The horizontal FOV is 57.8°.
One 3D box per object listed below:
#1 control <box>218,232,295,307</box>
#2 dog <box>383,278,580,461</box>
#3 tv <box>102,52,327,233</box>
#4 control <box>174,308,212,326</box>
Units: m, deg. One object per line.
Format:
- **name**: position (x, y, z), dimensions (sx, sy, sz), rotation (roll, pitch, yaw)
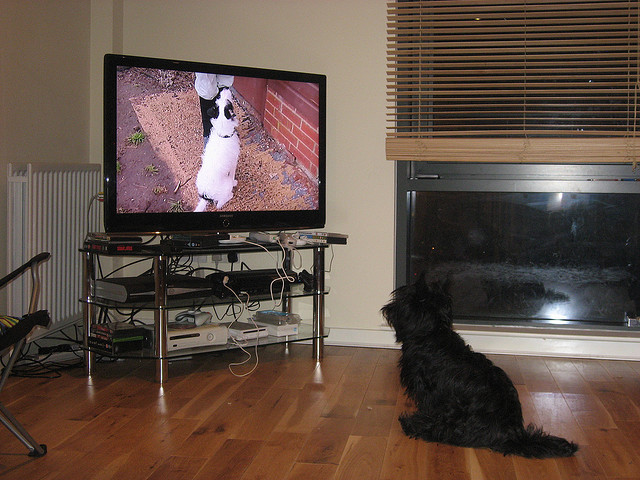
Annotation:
- **control**: position (-0.433, 0.171, 3.786), dimensions (0.563, 0.401, 0.386), rotation (-1, 9, -20)
- **dog**: position (0.699, 0.586, 2.718), dimensions (1.035, 0.659, 0.431), rotation (15, 17, 33)
- **tv**: position (-0.664, -0.573, 3.564), dimensions (1.413, 0.839, 0.070), rotation (-1, 3, -22)
- **control**: position (-0.764, 0.480, 3.654), dimensions (0.133, 0.041, 0.152), rotation (4, 1, 20)
